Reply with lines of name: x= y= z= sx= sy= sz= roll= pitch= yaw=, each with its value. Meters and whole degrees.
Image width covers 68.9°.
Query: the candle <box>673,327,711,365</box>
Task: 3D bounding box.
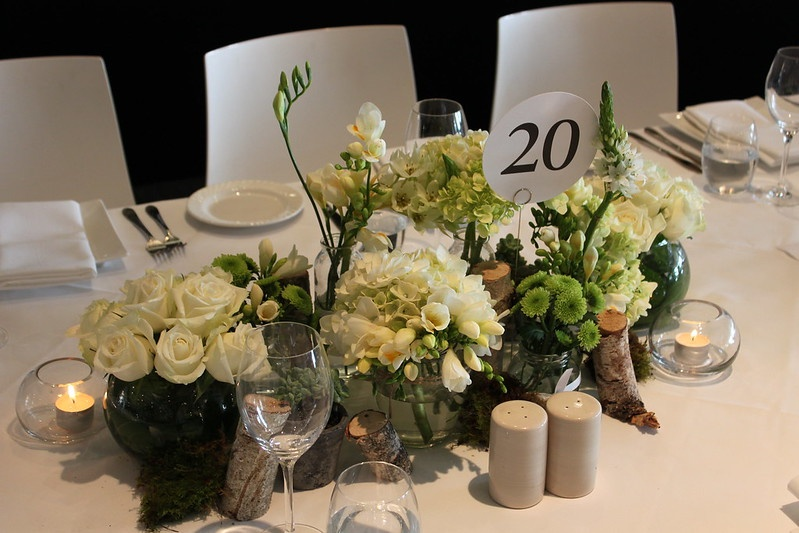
candle: x=0.594 y=0.165 z=1.190 sx=0.066 sy=0.070 sz=0.070 roll=11 pitch=22 yaw=30

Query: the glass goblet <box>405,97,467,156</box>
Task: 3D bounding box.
glass goblet: x=0.085 y=-0.323 z=1.400 sx=0.158 sy=0.174 sz=0.166 roll=-5 pitch=20 yaw=-10

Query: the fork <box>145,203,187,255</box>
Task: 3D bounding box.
fork: x=-0.594 y=-0.098 z=1.477 sx=0.059 sy=0.031 sz=0.246 roll=-15 pitch=43 yaw=-26

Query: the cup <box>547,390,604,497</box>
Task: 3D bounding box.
cup: x=0.284 y=0.300 z=0.970 sx=0.078 sy=0.152 sz=0.081 roll=-4 pitch=16 yaw=1

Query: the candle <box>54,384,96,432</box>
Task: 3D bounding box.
candle: x=-0.578 y=0.252 z=1.037 sx=0.046 sy=0.057 sz=0.048 roll=27 pitch=36 yaw=20

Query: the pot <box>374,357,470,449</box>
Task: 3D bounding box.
pot: x=0.032 y=0.224 z=0.969 sx=0.093 sy=0.153 sz=0.087 roll=-7 pitch=33 yaw=5

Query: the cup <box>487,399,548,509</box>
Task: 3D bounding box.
cup: x=0.198 y=0.304 z=0.957 sx=0.086 sy=0.148 sz=0.087 roll=-7 pitch=19 yaw=2

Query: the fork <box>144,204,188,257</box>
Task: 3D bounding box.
fork: x=-0.590 y=-0.095 z=1.474 sx=0.061 sy=0.038 sz=0.237 roll=-14 pitch=43 yaw=-27

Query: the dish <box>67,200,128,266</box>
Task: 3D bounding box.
dish: x=-0.736 y=-0.104 z=1.446 sx=0.102 sy=0.051 sz=0.243 roll=-15 pitch=58 yaw=-22

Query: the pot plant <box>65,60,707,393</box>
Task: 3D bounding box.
pot plant: x=0.171 y=-0.060 z=1.073 sx=0.815 sy=0.419 sz=0.587 roll=-1 pitch=20 yaw=-3

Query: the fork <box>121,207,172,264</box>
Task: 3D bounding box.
fork: x=-0.636 y=-0.083 z=1.470 sx=0.069 sy=0.031 sz=0.261 roll=-26 pitch=51 yaw=-20

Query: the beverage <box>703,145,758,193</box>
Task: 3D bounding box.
beverage: x=0.908 y=-0.273 z=1.654 sx=0.125 sy=0.135 sz=0.127 roll=-4 pitch=29 yaw=2
